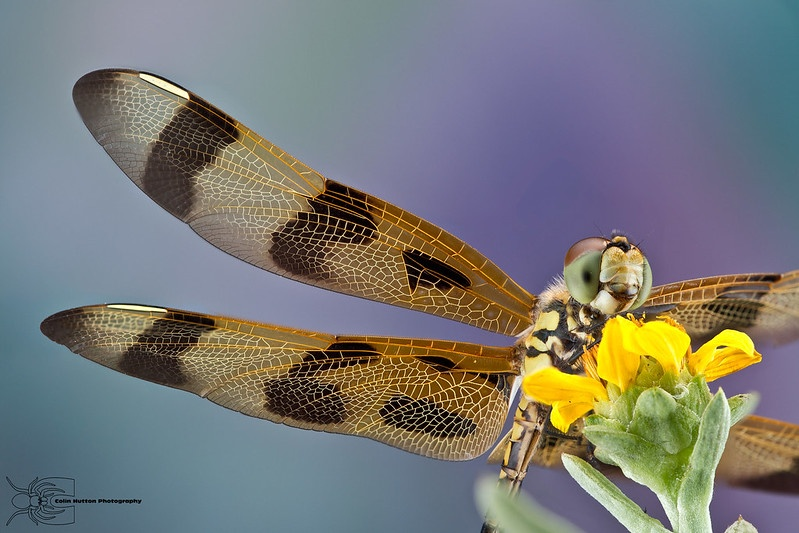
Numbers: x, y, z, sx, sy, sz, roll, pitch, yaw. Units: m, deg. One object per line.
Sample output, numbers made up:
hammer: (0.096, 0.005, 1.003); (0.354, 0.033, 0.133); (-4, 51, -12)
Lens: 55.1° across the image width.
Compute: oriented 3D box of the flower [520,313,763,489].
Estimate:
flower: (0.336, 0.136, 1.064); (0.322, 0.153, 0.238); (-5, -89, 4)
